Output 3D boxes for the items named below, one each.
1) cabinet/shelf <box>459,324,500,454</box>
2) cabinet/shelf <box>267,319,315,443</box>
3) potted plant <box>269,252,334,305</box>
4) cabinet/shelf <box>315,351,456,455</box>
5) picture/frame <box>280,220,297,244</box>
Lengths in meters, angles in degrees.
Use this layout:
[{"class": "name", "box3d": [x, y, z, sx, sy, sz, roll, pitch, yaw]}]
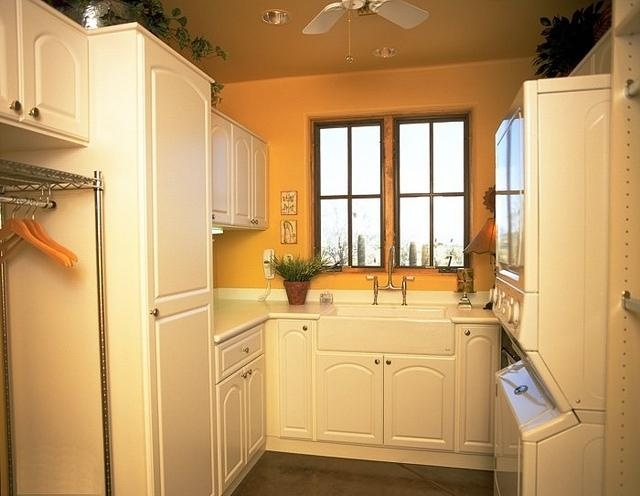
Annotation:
[{"class": "cabinet/shelf", "box3d": [0.990, 0.883, 3.217, 0.249, 0.801, 0.113, 1, 7, 14]}, {"class": "cabinet/shelf", "box3d": [-0.200, 0.930, 3.570, 0.285, 0.782, 0.341, 5, -16, -18]}, {"class": "potted plant", "box3d": [-0.150, 0.245, 3.968, 0.455, 0.342, 0.293, -1, 7, -5]}, {"class": "cabinet/shelf", "box3d": [0.415, 0.964, 3.298, 0.906, 0.644, 0.545, -1, -9, 14]}, {"class": "picture/frame", "box3d": [-0.241, -0.125, 4.044, 0.167, 0.254, 0.017, 1, 3, 15]}]
